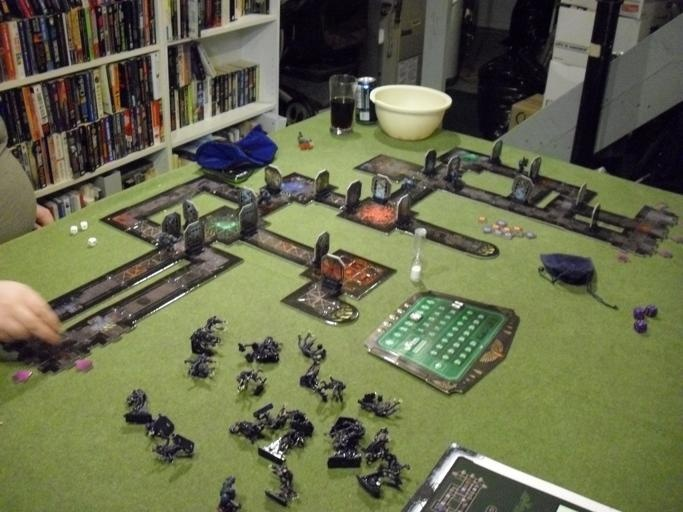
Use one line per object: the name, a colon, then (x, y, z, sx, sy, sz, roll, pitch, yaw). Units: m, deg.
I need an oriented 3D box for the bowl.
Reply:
bowl: (0.358, -0.772, 2.621, 0.340, 0.170, 0.352, 2, 34, -2)
